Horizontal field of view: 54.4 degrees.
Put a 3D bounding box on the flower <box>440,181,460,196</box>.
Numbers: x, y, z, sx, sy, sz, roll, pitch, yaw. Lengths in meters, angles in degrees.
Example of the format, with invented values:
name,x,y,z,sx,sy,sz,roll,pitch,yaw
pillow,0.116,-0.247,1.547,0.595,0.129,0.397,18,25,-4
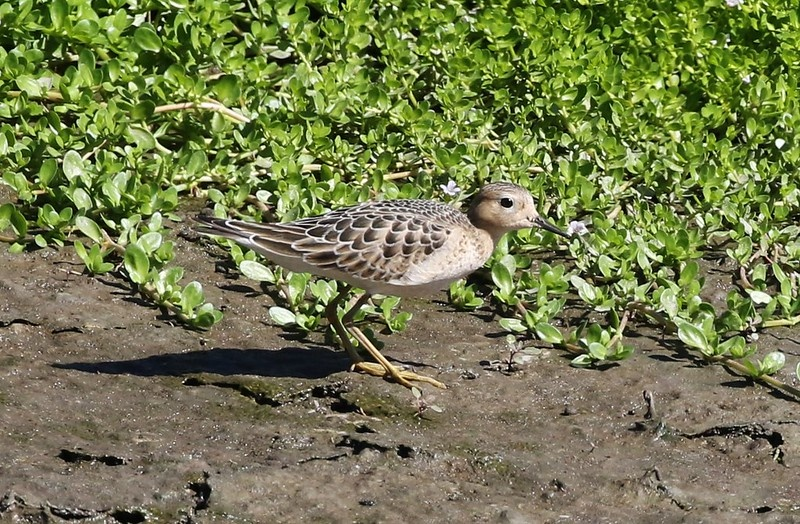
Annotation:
name,x,y,z,sx,sy,sz,roll,pitch,yaw
flower,0.441,-0.641,6.904,0.164,0.056,0.145,-14,46,-7
